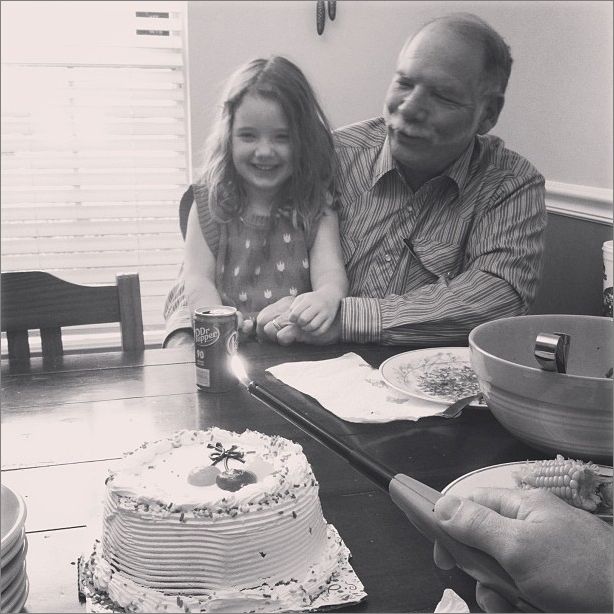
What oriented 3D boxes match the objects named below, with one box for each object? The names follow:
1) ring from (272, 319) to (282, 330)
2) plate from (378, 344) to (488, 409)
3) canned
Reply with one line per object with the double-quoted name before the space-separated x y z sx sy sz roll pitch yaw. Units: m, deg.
"ring" -0.060 0.035 1.426 0.015 0.016 0.022 -4 8 -6
"plate" 0.212 0.118 1.119 0.160 0.165 0.022 -9 41 39
"canned" -0.143 0.068 1.165 0.074 0.132 0.073 3 6 -1
